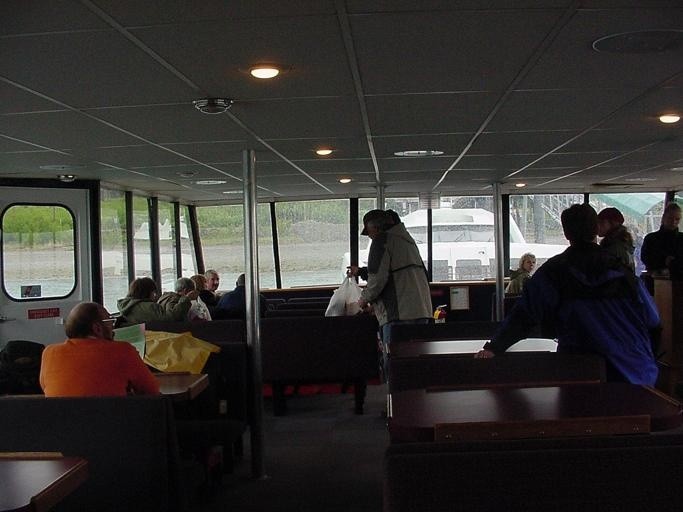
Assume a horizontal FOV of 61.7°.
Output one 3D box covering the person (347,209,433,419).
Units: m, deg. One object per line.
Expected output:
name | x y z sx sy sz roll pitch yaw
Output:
person | 0.492 0.614 6.120 1.011 2.157 0.917 -6 -5 31

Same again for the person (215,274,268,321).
person | -1.230 0.522 7.021 0.818 0.643 0.423 1 1 0

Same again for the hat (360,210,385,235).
hat | 0.282 -0.352 6.030 0.289 0.155 0.210 -16 -6 28

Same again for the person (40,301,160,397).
person | -1.604 0.617 3.676 0.787 0.591 0.481 -2 0 9
